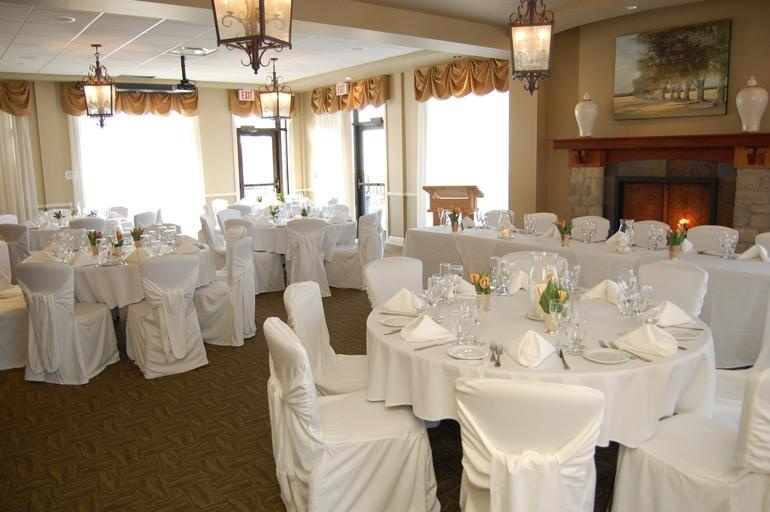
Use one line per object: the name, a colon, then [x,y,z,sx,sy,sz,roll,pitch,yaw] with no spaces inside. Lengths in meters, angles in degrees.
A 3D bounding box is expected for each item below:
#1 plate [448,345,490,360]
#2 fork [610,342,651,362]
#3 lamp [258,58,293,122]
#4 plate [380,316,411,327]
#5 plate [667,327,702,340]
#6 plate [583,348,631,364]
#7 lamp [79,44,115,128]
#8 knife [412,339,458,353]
plate: [0.557,0.645,3.576,0.274,0.050,0.179,-3,9,-9]
fork: [1.620,0.631,3.506,0.209,0.032,0.030,25,-16,30]
lamp: [-1.910,-2.884,9.239,0.592,1.110,0.561,-2,2,3]
plate: [0.084,0.489,4.032,0.226,0.040,0.187,2,10,19]
plate: [2.125,0.534,3.767,0.238,0.041,0.194,-1,9,-1]
plate: [1.450,0.651,3.497,0.303,0.046,0.188,-2,9,-4]
lamp: [-4.487,-2.675,8.387,0.429,1.309,0.399,-7,5,-42]
knife: [0.346,0.621,3.667,0.295,0.041,0.017,-9,-22,-26]
